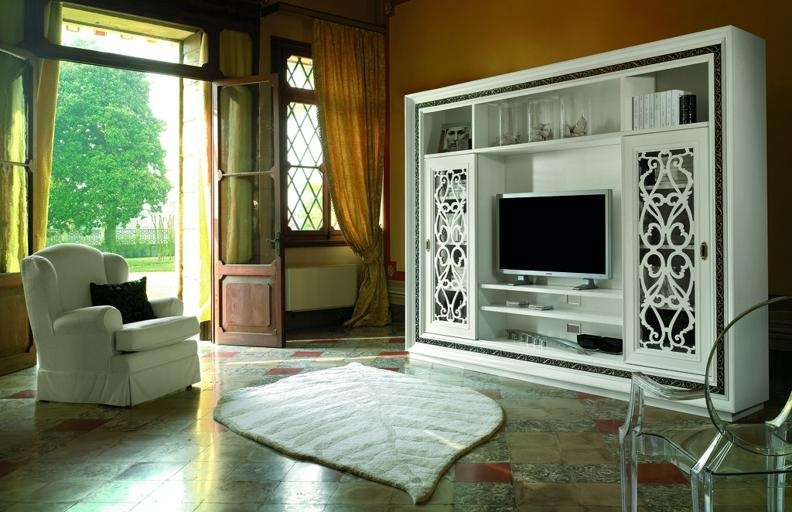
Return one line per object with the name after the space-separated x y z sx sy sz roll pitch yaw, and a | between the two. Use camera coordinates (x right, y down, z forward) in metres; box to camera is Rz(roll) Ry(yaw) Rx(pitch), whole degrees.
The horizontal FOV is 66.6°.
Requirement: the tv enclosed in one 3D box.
1.522 -0.160 5.901 0.261 0.904 1.305 -3 4 -41 | tv

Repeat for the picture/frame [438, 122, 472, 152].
0.649 -1.281 6.543 0.446 0.377 0.066 0 -7 37 | picture/frame

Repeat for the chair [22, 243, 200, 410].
-2.609 0.582 5.608 1.444 1.258 1.269 1 2 -7 | chair
